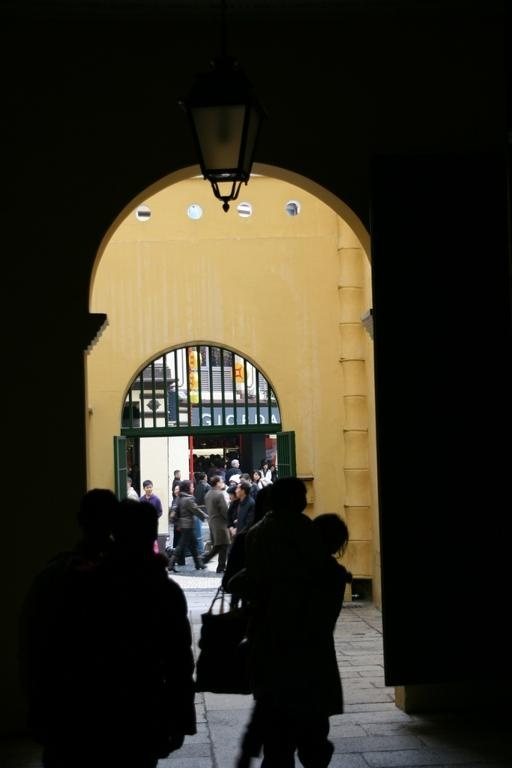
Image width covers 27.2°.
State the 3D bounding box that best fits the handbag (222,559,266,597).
[{"bbox_3d":[-0.050,0.846,4.580,0.115,0.110,0.292,-15,-7,-20],"label":"handbag"}]

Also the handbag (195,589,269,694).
[{"bbox_3d":[-0.124,1.218,4.953,0.292,0.477,0.350,17,-41,-27],"label":"handbag"}]

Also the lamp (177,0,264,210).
[{"bbox_3d":[-0.133,-1.264,4.645,0.303,1.183,1.001,-1,-4,0],"label":"lamp"}]
